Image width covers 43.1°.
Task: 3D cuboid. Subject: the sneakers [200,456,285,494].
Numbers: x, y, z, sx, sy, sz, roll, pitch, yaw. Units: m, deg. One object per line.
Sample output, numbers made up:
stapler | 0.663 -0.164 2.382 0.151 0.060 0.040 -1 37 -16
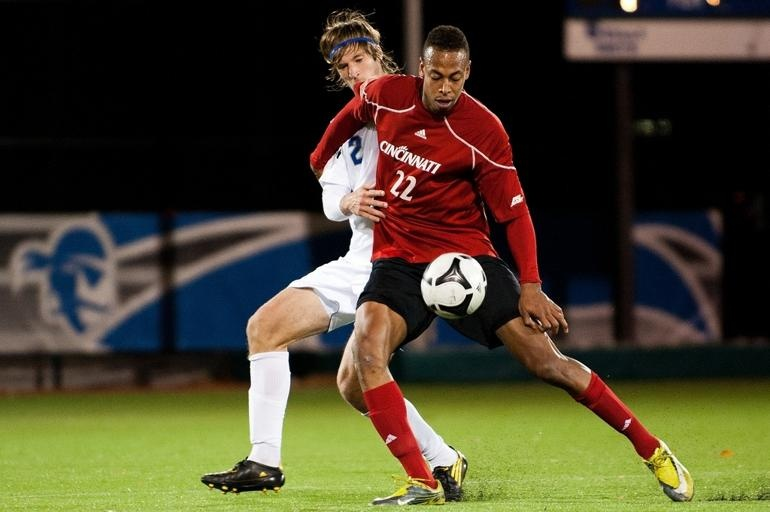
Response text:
sneakers | -1.138 1.812 8.044 0.685 0.288 0.260 3 -10 -4

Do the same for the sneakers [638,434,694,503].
sneakers | 2.263 1.739 7.857 0.230 0.626 0.275 -48 -24 26

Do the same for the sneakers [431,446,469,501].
sneakers | 0.577 1.846 8.071 0.222 0.497 0.171 38 -41 -28

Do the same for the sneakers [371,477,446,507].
sneakers | 0.181 1.867 7.729 0.610 0.228 0.217 2 -9 -5
